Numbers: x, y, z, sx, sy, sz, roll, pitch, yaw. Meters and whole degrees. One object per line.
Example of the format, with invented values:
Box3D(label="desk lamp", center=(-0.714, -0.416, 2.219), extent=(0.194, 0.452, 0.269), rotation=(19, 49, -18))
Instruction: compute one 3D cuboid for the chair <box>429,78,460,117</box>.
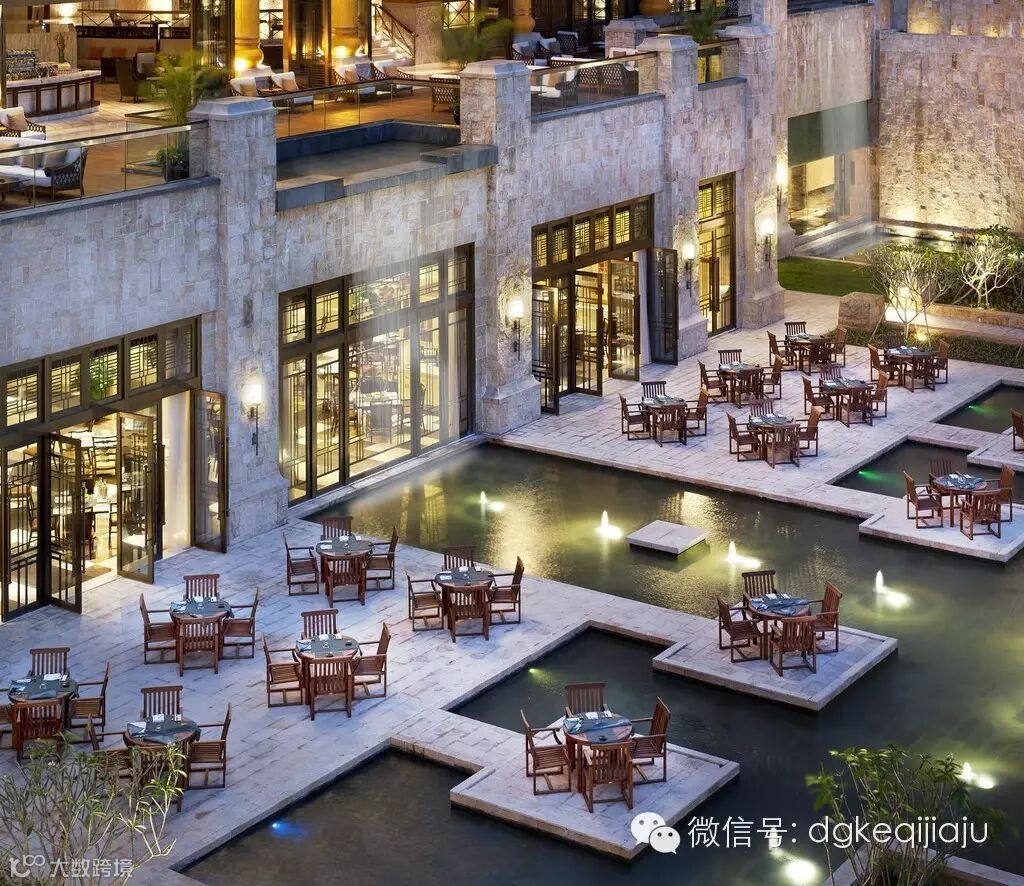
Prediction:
Box3D(label="chair", center=(-1.358, -7.404, 32.622), extent=(0.717, 0.897, 0.710), rotation=(-1, 6, -4))
